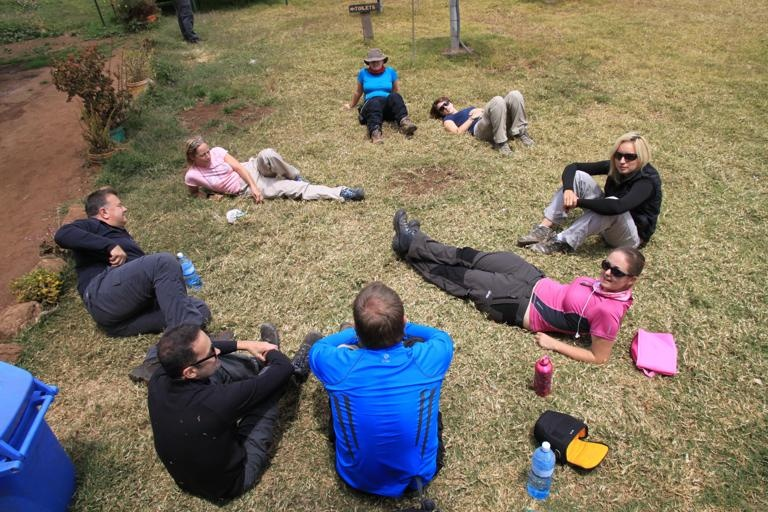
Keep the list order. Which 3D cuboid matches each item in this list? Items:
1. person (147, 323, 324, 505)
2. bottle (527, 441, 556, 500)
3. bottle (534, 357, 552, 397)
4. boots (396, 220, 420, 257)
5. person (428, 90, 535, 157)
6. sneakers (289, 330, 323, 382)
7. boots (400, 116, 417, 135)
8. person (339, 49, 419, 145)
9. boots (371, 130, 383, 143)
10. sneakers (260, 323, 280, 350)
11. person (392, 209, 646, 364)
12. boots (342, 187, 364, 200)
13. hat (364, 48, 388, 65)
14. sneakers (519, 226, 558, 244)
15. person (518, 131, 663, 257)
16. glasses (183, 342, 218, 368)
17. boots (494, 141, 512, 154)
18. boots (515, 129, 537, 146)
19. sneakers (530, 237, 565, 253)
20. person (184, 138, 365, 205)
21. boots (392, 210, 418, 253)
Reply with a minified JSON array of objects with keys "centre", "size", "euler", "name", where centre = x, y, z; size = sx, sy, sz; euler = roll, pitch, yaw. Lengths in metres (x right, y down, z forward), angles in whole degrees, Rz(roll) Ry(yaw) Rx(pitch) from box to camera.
[{"centre":[-1.586,1.764,6.015],"size":[0.771,1.355,1.425],"euler":[20,52,13],"name":"person"},{"centre":[1.627,2.184,5.805],"size":[0.254,0.666,0.324],"euler":[12,42,18],"name":"bottle"},{"centre":[1.810,1.331,6.391],"size":[0.219,0.442,0.290],"euler":[7,40,12],"name":"bottle"},{"centre":[0.265,-0.310,7.513],"size":[0.233,0.270,0.522],"euler":[-20,42,42],"name":"boots"},{"centre":[1.585,-2.363,9.797],"size":[1.562,0.967,0.845],"euler":[5,25,40],"name":"person"},{"centre":[-0.922,1.166,6.654],"size":[0.222,0.262,0.651],"euler":[13,85,8],"name":"sneakers"},{"centre":[0.412,-2.228,9.650],"size":[0.159,0.291,0.411],"euler":[-33,18,-5],"name":"boots"},{"centre":[0.009,-2.816,9.823],"size":[1.109,1.131,2.050],"euler":[-8,35,-10],"name":"person"},{"centre":[-0.119,-2.017,9.520],"size":[0.189,0.145,0.248],"euler":[-5,39,-3],"name":"boots"},{"centre":[-1.366,0.935,6.840],"size":[0.159,0.337,0.229],"euler":[-14,-2,4],"name":"sneakers"},{"centre":[1.512,0.180,7.070],"size":[3.000,1.155,1.346],"euler":[18,36,20],"name":"person"},{"centre":[-0.461,-0.933,8.382],"size":[0.346,0.165,0.125],"euler":[2,40,5],"name":"boots"},{"centre":[-0.149,-3.528,9.968],"size":[0.325,0.239,0.395],"euler":[14,42,19],"name":"hat"},{"centre":[2.075,-0.277,7.667],"size":[0.551,0.235,0.213],"euler":[-6,20,-1],"name":"sneakers"},{"centre":[2.833,-0.847,7.600],"size":[1.822,1.482,1.175],"euler":[-6,25,-15],"name":"person"},{"centre":[-1.844,1.053,5.887],"size":[0.106,0.138,0.339],"euler":[15,42,21],"name":"glasses"},{"centre":[1.950,-1.795,9.275],"size":[0.128,0.147,0.342],"euler":[-29,45,9],"name":"boots"},{"centre":[2.360,-1.992,9.482],"size":[0.196,0.096,0.285],"euler":[21,23,-29],"name":"boots"},{"centre":[2.191,-0.126,7.654],"size":[0.503,0.200,0.178],"euler":[0,57,4],"name":"sneakers"},{"centre":[-1.603,-1.186,8.787],"size":[2.653,0.938,1.104],"euler":[4,44,-1],"name":"person"},{"centre":[0.279,-0.333,7.596],"size":[0.247,0.352,0.551],"euler":[-7,59,41],"name":"boots"}]
